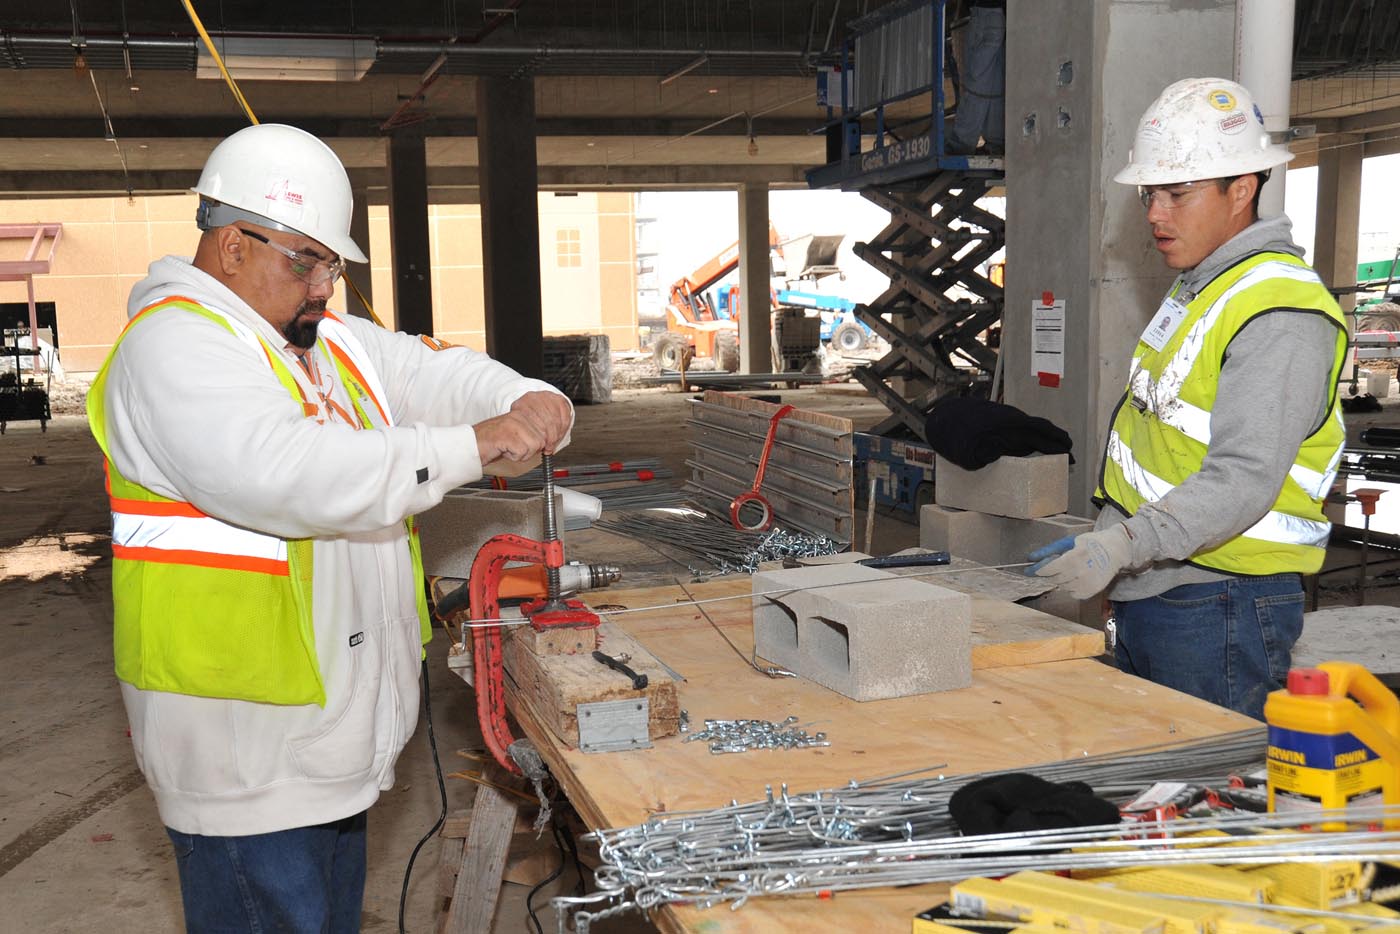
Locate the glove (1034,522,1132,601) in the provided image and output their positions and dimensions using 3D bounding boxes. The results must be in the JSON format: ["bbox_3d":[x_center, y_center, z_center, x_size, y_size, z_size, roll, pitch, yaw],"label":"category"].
[{"bbox_3d":[1.106,0.279,3.703,0.081,0.162,0.282,-24,-13,-49],"label":"glove"}]

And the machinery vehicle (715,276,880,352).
[{"bbox_3d":[1.654,-2.918,24.348,2.979,1.261,1.559,3,16,-1],"label":"machinery vehicle"}]

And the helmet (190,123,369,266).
[{"bbox_3d":[-1.069,-0.724,3.386,0.513,0.292,0.363,13,10,0],"label":"helmet"}]

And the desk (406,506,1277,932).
[{"bbox_3d":[0.368,0.193,3.496,1.436,0.968,1.926,-3,8,-20],"label":"desk"}]

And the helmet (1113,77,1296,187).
[{"bbox_3d":[1.462,-1.001,3.782,0.505,0.259,0.412,-11,23,-10],"label":"helmet"}]

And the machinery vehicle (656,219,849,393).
[{"bbox_3d":[1.232,-3.286,25.789,5.408,2.937,1.950,5,7,41],"label":"machinery vehicle"}]

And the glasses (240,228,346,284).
[{"bbox_3d":[-1.027,-0.533,3.300,0.159,0.039,0.149,27,1,-1],"label":"glasses"}]
